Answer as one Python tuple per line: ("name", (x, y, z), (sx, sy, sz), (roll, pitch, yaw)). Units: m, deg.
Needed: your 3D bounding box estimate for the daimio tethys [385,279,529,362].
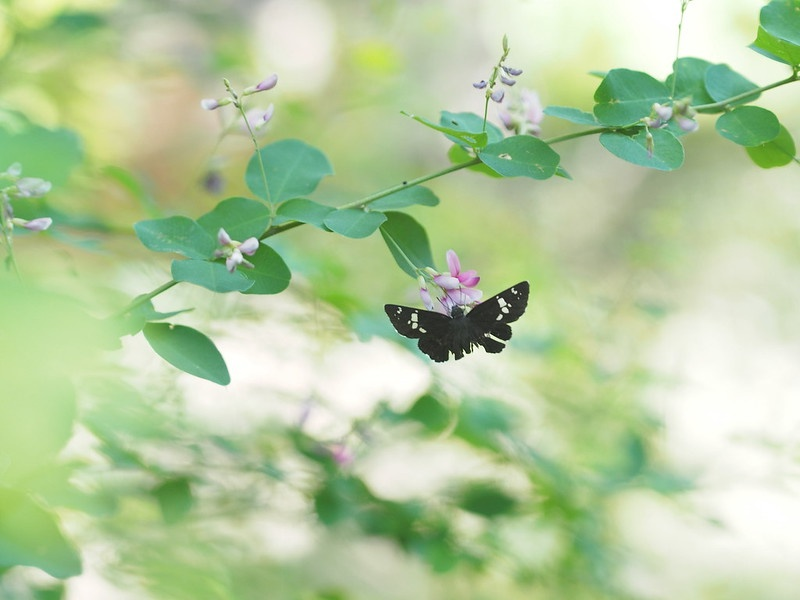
("daimio tethys", (0.087, 0.036, 1.291), (0.209, 0.070, 0.080), (-11, -60, 10))
